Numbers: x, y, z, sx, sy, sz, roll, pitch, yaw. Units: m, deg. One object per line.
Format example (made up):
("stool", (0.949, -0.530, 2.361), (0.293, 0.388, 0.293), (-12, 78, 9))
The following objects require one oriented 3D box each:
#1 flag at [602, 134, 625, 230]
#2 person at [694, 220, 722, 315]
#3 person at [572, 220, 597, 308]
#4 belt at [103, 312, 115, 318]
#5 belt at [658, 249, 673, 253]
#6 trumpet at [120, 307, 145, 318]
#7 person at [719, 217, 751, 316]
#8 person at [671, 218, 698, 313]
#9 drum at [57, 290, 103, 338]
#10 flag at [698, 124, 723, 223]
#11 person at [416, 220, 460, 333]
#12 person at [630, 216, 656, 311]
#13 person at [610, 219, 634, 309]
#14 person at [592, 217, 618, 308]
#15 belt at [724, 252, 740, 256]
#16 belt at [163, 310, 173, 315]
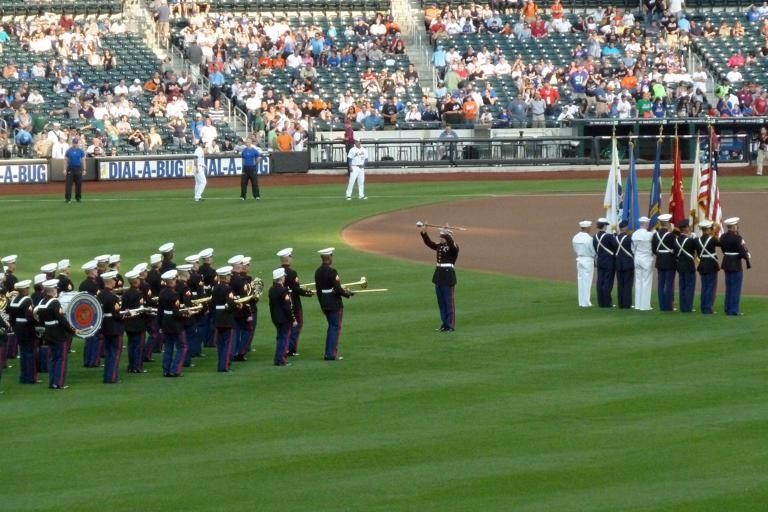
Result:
("flag", (7.364, -2.480, 59.821), (0.932, 3.217, 0.701), (2, -7, -28))
("person", (9.937, 0.424, 56.773), (0.666, 2.506, 0.938), (0, -3, 21))
("person", (6.205, 0.319, 57.715), (0.816, 2.504, 0.567), (-1, 0, 5))
("belt", (-7.928, 1.704, 53.151), (0.274, 0.128, 0.111), (0, 10, 3))
("belt", (8.635, -0.148, 57.045), (0.491, 0.135, 0.090), (1, 11, 13))
("trumpet", (-7.282, 1.630, 53.417), (0.905, 0.345, 0.144), (-4, 22, -6))
("person", (10.742, 0.317, 56.686), (1.014, 2.940, 1.040), (-1, 3, -40))
("person", (9.379, 0.337, 57.186), (0.905, 2.770, 0.925), (1, 7, 25))
("drum", (-8.692, 1.683, 52.806), (0.817, 1.006, 1.034), (3, 27, 42))
("flag", (10.560, -2.644, 59.974), (0.624, 3.615, 0.843), (-13, 19, -28))
("person", (1.708, 0.626, 55.881), (1.081, 3.175, 1.417), (1, 0, -39))
("person", (8.035, 0.264, 57.373), (0.735, 2.557, 0.920), (1, -2, 25))
("person", (7.506, 0.295, 57.642), (0.916, 2.681, 0.788), (-1, 1, -40))
("person", (6.927, 0.228, 57.734), (0.996, 2.747, 0.821), (-1, 4, 15))
("belt", (10.536, -0.059, 56.327), (0.457, 0.111, 0.074), (3, 11, 20))
("belt", (-6.227, 1.628, 53.385), (0.340, 0.111, 0.132), (3, 11, 23))
